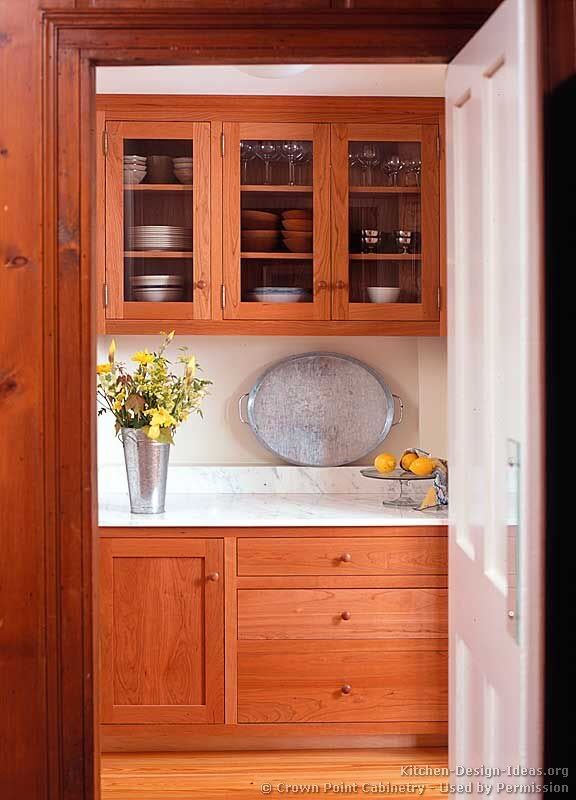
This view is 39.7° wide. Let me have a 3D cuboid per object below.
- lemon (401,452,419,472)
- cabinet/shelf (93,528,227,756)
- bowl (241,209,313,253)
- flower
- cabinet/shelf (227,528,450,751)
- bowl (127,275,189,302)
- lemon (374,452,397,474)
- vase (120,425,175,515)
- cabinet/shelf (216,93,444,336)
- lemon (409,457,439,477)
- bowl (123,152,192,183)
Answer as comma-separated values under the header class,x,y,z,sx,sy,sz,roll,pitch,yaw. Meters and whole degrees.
class,x,y,z,sx,sy,sz,roll,pitch,yaw
lemon,0.412,0.206,2.696,0.055,0.066,0.054,-1,-16,7
cabinet/shelf,-0.378,0.685,2.628,0.494,0.708,0.543,0,12,-14
bowl,-0.032,-0.559,2.648,0.207,0.115,0.132,0,-1,-5
flower,-0.433,0.006,2.549,0.304,0.352,0.282,-5,5,2
cabinet/shelf,0.160,0.696,2.541,0.696,0.646,0.286,0,6,-1
bowl,-0.421,-0.368,2.638,0.118,0.049,0.107,0,1,0
lemon,0.331,0.201,2.689,0.076,0.077,0.072,-9,0,0
vase,-0.441,0.221,2.529,0.161,0.273,0.172,0,2,0
cabinet/shelf,0.141,-0.603,2.693,0.731,0.701,0.241,1,12,3
lemon,0.446,0.203,2.612,0.069,0.039,0.072,-14,-8,-28
bowl,-0.434,-0.757,2.622,0.129,0.059,0.130,-1,5,0
